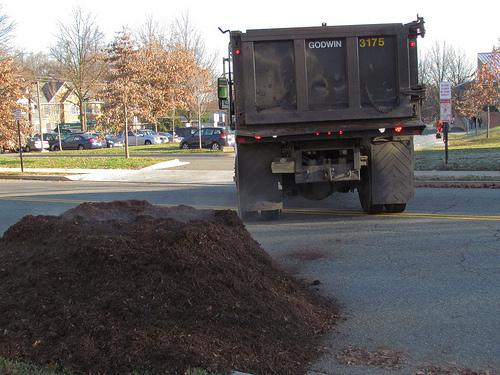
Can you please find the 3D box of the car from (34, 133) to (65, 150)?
[{"bbox_3d":[-15.992,-3.681,48.730,2.729,1.231,1.293,7,8,28],"label":"car"}]

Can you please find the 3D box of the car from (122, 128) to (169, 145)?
[{"bbox_3d":[-8.720,-4.218,50.817,2.335,1.316,3.772,-1,6,29],"label":"car"}]

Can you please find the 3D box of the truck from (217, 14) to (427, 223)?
[{"bbox_3d":[1.424,-1.642,13.192,2.900,2.525,4.157,-1,7,-3],"label":"truck"}]

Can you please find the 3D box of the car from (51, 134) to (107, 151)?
[{"bbox_3d":[-13.251,-3.463,46.981,3.463,1.087,1.617,2,5,21],"label":"car"}]

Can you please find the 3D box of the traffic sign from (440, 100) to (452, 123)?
[{"bbox_3d":[6.444,-2.523,20.001,0.318,0.775,0.728,-2,6,16],"label":"traffic sign"}]

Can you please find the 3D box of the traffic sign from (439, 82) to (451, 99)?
[{"bbox_3d":[6.515,-3.229,20.228,0.307,0.581,0.571,-3,5,14],"label":"traffic sign"}]

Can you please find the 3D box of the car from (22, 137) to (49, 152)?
[{"bbox_3d":[-15.918,-3.120,44.826,1.513,1.088,3.264,-5,9,-39],"label":"car"}]
